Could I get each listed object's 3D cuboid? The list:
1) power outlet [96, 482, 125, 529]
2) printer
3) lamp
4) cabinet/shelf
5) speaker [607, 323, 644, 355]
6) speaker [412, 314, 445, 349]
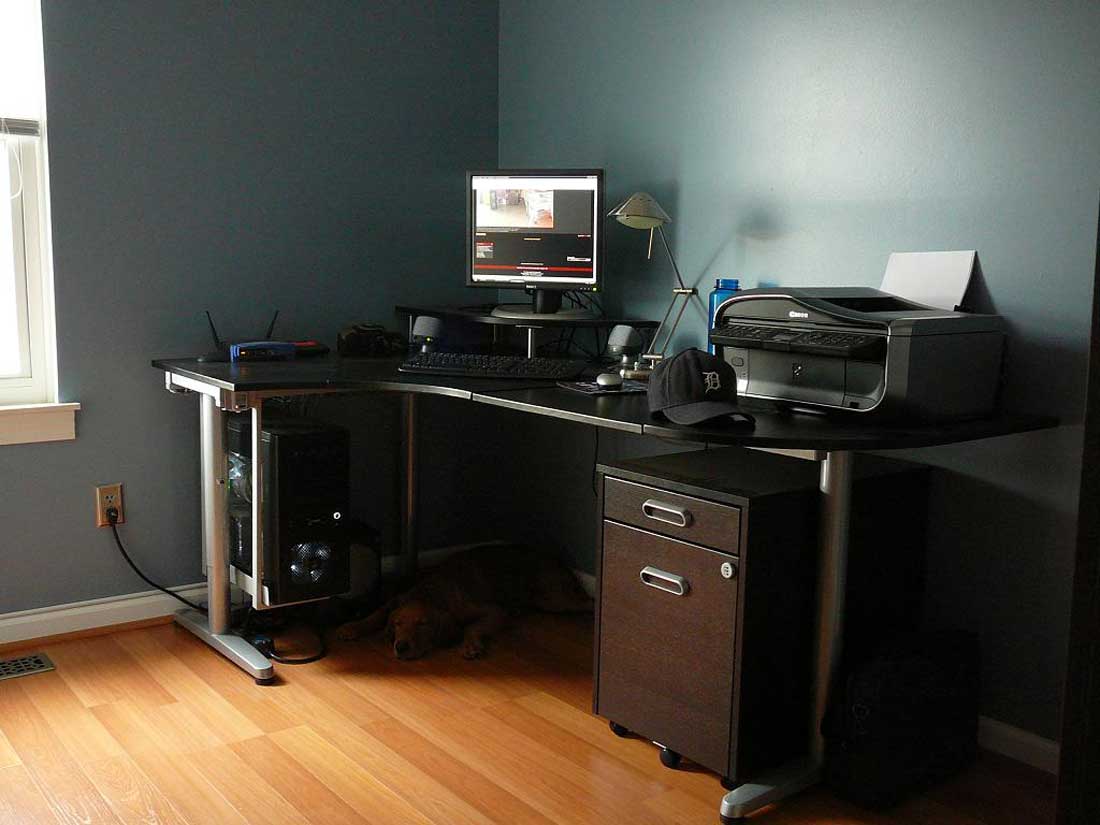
[{"bbox_3d":[-1.441,0.304,3.001,0.088,0.148,0.034,-5,13,-26],"label":"power outlet"},{"bbox_3d":[0.744,-0.113,2.134,0.414,0.242,0.438,-7,10,-38],"label":"printer"},{"bbox_3d":[0.355,-0.423,2.993,0.396,0.570,0.183,-1,10,-16],"label":"lamp"},{"bbox_3d":[0.489,0.368,2.482,0.727,0.862,0.679,-4,8,-39],"label":"cabinet/shelf"},{"bbox_3d":[0.219,-0.225,2.844,0.094,0.101,0.105,-2,9,-33],"label":"speaker"},{"bbox_3d":[-0.408,-0.268,3.085,0.122,0.134,0.099,-2,8,-5],"label":"speaker"}]
